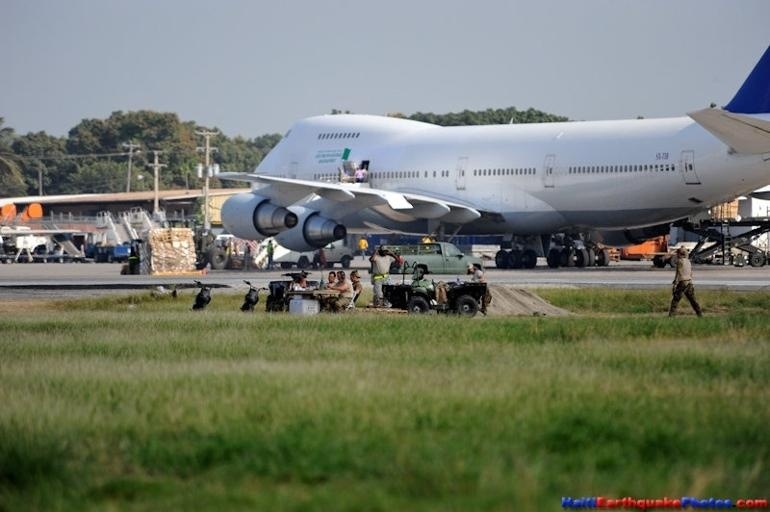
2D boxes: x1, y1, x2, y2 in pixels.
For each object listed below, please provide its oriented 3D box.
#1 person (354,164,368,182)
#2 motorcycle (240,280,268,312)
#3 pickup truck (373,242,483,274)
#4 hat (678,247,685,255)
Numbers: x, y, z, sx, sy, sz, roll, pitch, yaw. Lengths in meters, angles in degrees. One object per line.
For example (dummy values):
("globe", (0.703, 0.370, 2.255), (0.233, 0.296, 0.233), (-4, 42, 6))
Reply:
("person", (-1.107, -3.423, 51.616), (0.559, 0.727, 0.722), (1, -7, 3))
("motorcycle", (-3.416, 1.116, 32.056), (0.629, 0.780, 0.376), (15, 43, 5))
("pickup truck", (1.599, 0.052, 41.849), (2.471, 0.930, 1.331), (0, 1, 6))
("hat", (7.161, -0.125, 30.482), (0.137, 0.167, 0.083), (0, 0, -9))
